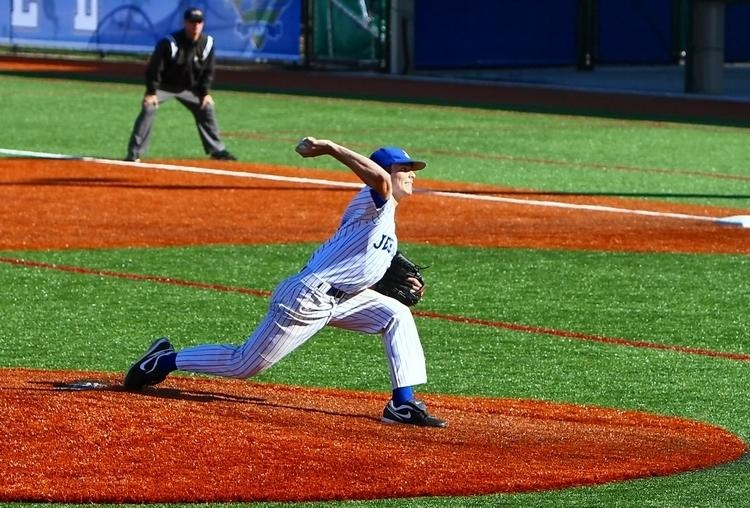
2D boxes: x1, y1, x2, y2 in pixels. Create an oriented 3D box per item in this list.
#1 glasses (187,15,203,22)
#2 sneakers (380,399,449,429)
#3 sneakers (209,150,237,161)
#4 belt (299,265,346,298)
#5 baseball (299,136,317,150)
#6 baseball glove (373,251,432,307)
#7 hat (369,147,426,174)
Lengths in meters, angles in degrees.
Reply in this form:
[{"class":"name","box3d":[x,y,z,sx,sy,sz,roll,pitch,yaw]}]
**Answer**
[{"class":"glasses","box3d":[-2.271,-2.960,21.419,0.205,0.093,0.153,3,5,-12]},{"class":"sneakers","box3d":[0.377,1.482,16.023,0.699,0.229,0.222,5,1,3]},{"class":"sneakers","box3d":[-2.061,-1.351,23.202,0.383,0.146,0.124,0,7,5]},{"class":"belt","box3d":[-0.470,0.283,15.888,0.361,0.123,0.259,32,-5,-3]},{"class":"baseball","box3d":[-0.631,-1.028,15.650,0.131,0.106,0.188,3,5,-19]},{"class":"baseball glove","box3d":[0.283,0.229,16.133,0.529,0.423,0.268,33,-33,-5]},{"class":"hat","box3d":[0.227,-0.880,15.903,0.411,0.144,0.248,1,7,4]}]
